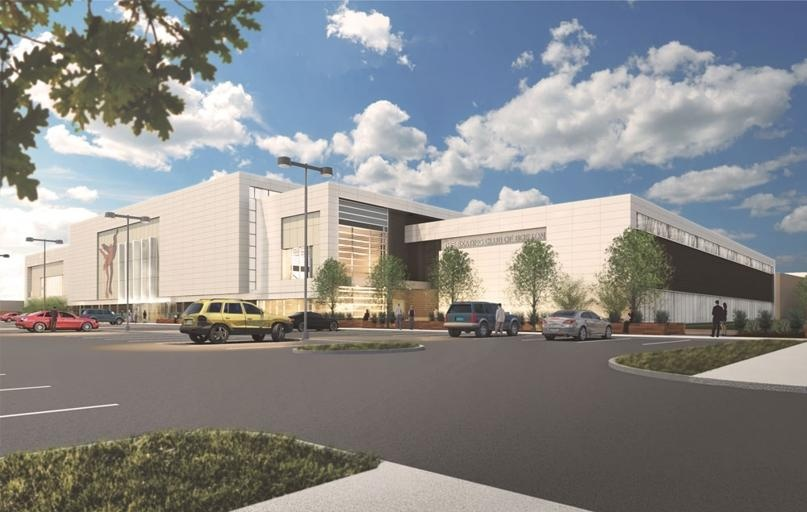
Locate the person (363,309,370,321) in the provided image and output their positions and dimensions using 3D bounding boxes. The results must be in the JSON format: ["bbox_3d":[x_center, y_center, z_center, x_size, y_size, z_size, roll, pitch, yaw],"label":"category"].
[{"bbox_3d":[-3.556,5.429,58.298,0.677,1.376,0.710,0,-3,6],"label":"person"}]

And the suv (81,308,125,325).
[{"bbox_3d":[-30.919,6.154,64.731,3.976,1.839,2.500,-2,-3,2],"label":"suv"}]

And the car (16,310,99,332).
[{"bbox_3d":[-25.675,4.808,46.446,4.899,1.540,2.652,6,-11,-32],"label":"car"}]

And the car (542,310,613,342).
[{"bbox_3d":[9.201,3.607,33.178,1.624,1.365,4.013,-4,-5,43],"label":"car"}]

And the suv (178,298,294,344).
[{"bbox_3d":[-8.129,3.022,30.004,4.204,1.896,2.310,-1,-3,-36],"label":"suv"}]

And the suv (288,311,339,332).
[{"bbox_3d":[-6.511,4.749,45.721,3.752,1.308,1.702,1,-3,-39],"label":"suv"}]

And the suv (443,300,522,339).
[{"bbox_3d":[4.518,3.493,36.362,4.191,1.857,1.988,0,-2,-42],"label":"suv"}]
